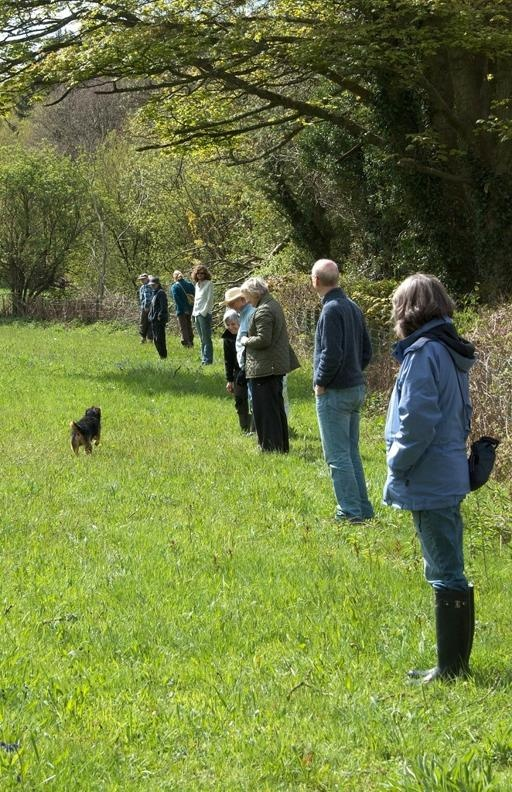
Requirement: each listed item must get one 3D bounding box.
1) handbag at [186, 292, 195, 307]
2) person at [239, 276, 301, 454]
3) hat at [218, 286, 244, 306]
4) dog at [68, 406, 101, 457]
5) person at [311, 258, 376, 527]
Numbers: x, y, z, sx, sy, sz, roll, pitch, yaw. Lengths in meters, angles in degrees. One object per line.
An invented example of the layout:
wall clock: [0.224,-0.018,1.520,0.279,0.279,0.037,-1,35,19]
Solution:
handbag: [-1.269,-1.835,21.320,0.075,0.227,0.172,18,47,20]
person: [0.098,-0.252,10.922,0.507,1.809,0.685,4,13,18]
hat: [-0.226,-1.058,11.342,0.240,0.091,0.216,-42,6,-36]
dog: [-1.773,0.410,11.481,0.272,0.454,0.869,-1,12,-4]
person: [0.668,-0.023,8.711,0.502,2.038,0.694,1,12,2]
